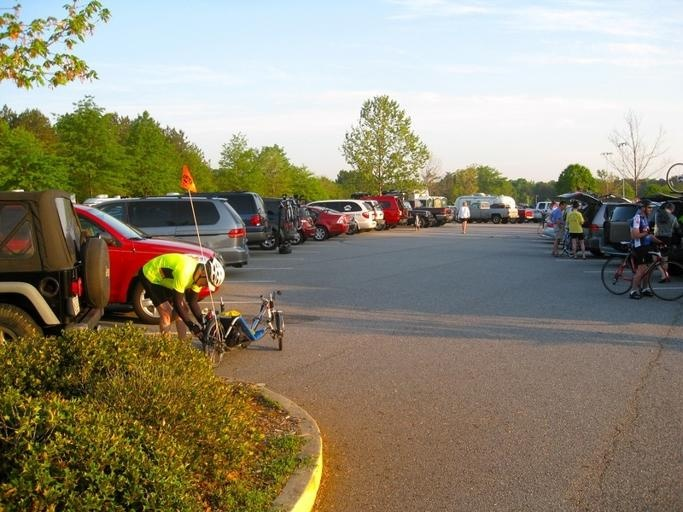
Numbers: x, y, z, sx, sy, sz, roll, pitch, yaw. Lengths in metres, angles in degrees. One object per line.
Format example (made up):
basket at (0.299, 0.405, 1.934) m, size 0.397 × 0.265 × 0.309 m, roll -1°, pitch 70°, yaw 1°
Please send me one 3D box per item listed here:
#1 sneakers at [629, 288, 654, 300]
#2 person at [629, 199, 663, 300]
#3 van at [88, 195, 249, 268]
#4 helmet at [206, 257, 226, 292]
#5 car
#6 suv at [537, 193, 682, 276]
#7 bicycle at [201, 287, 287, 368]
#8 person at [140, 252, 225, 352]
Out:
sneakers at (6.697, 0.817, 12.469) m, size 0.634 × 0.308 × 0.233 m, roll -4°, pitch 7°, yaw -3°
person at (6.765, -0.173, 12.396) m, size 0.488 × 2.149 × 0.713 m, roll 4°, pitch 8°, yaw 39°
van at (-4.496, -0.869, 14.329) m, size 3.896 × 1.622 × 2.119 m, roll 4°, pitch 1°, yaw -3°
helmet at (-1.563, 0.228, 6.856) m, size 0.216 × 0.428 × 0.443 m, roll -3°, pitch 7°, yaw -15°
car at (-3.603, 0.066, 10.193) m, size 2.966 × 1.654 × 1.801 m, roll -1°, pitch 6°, yaw -3°
suv at (9.417, -0.825, 18.586) m, size 2.151 × 2.152 × 4.388 m, roll -4°, pitch 5°, yaw -39°
bicycle at (-1.515, 0.956, 7.938) m, size 0.665 × 0.969 × 1.526 m, roll 1°, pitch 5°, yaw 33°
person at (-2.068, 0.543, 7.129) m, size 0.846 × 1.170 × 1.371 m, roll -5°, pitch 8°, yaw -30°
